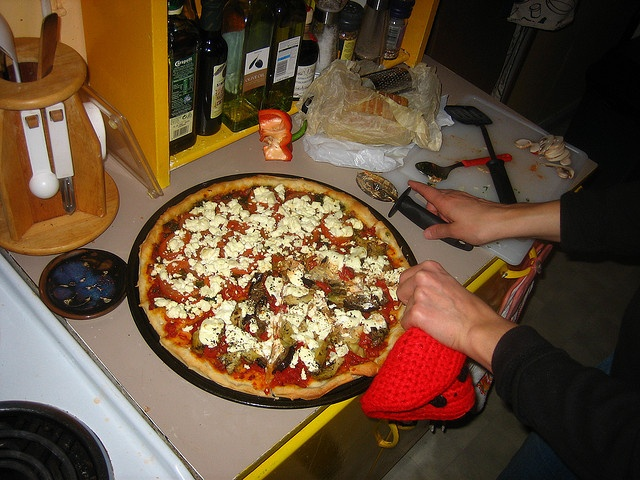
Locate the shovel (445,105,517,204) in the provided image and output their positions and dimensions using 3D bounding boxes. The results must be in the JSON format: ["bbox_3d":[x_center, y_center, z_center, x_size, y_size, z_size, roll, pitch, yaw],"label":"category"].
[{"bbox_3d":[0.457,-0.256,1.381,0.098,0.041,0.371,-5,47,0],"label":"shovel"}]

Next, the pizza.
[{"bbox_3d":[-0.098,0.062,1.046,0.578,0.068,0.522,18,50,3],"label":"pizza"}]
